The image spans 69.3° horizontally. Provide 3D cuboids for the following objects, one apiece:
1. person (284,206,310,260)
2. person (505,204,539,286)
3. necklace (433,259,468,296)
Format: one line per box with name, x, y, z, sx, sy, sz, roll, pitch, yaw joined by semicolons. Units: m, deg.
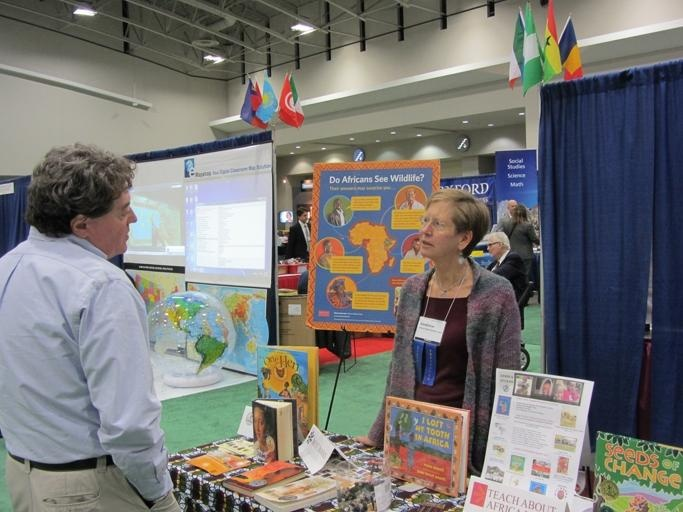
person;-0.755;-0.378;8.630;0.399;0.926;0.885;1;3;-5
person;2.971;-0.092;8.215;0.579;1.641;0.434;7;30;36
necklace;0.472;0.092;2.110;0.098;0.139;0.062;-19;-34;37
